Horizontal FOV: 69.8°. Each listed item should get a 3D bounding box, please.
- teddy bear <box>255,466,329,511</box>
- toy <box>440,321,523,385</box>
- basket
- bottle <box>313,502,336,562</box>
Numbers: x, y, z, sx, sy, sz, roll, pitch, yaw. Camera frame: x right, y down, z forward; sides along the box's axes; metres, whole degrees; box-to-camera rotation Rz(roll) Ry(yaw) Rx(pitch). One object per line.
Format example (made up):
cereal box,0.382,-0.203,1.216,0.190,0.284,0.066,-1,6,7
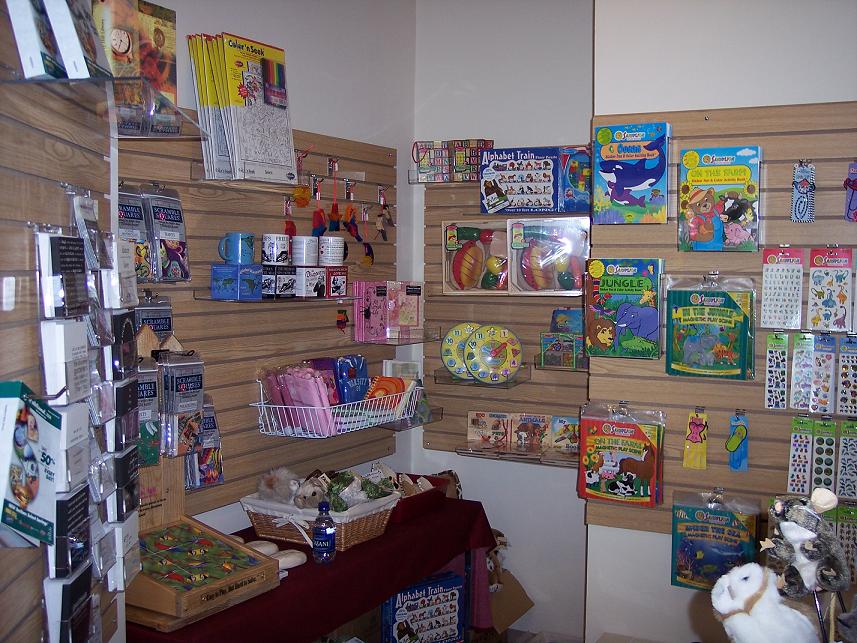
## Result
teddy bear,-0.629,0.794,2.926,0.238,0.115,0.185,-2,4,20
toy,0.324,0.200,3.830,0.496,0.369,0.120,0,8,17
basket,-0.426,0.477,3.128,0.876,0.221,0.332,-6,8,-20
bottle,-0.457,0.920,2.712,0.116,0.247,0.132,-7,9,-28
